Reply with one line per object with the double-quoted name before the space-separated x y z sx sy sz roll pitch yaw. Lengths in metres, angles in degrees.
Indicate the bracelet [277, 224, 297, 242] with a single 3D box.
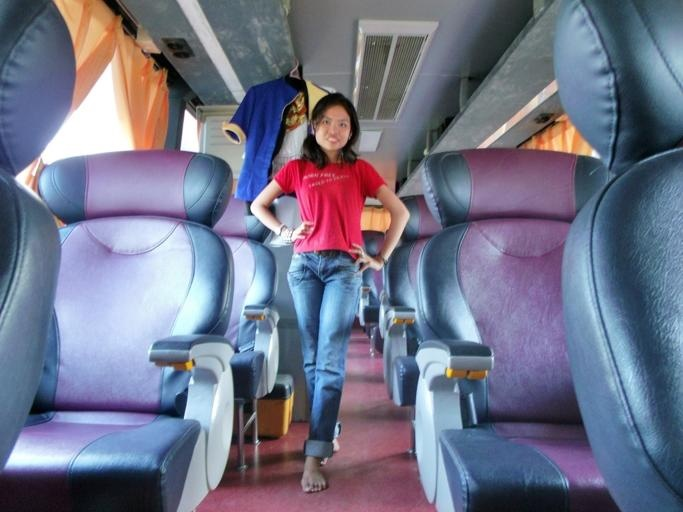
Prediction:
"bracelet" -0.224 -0.096 2.096 0.065 0.037 0.079 1 12 -25
